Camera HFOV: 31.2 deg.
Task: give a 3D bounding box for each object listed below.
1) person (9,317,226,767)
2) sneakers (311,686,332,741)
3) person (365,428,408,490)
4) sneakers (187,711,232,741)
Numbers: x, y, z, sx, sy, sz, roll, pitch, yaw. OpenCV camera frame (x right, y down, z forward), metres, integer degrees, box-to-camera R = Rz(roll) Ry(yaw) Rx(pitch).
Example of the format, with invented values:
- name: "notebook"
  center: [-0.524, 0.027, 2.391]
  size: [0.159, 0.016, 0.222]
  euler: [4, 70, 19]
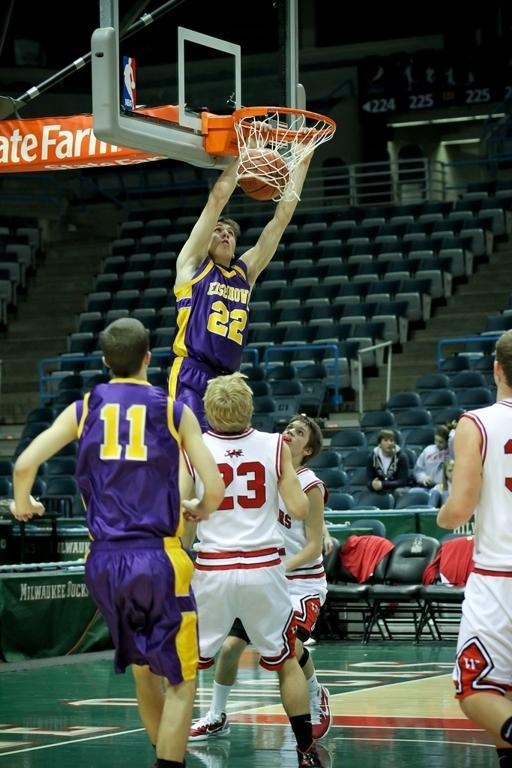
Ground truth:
- name: "person"
  center: [-0.372, 0.469, 2.561]
  size: [0.576, 1.306, 0.338]
  euler: [-4, 4, -4]
- name: "sneakers"
  center: [0.281, 1.390, 3.866]
  size: [0.089, 0.229, 0.103]
  euler: [-5, -33, 17]
- name: "person"
  center: [1.466, 0.851, 10.332]
  size: [0.458, 0.689, 0.396]
  euler: [-3, 4, 5]
- name: "sneakers"
  center: [-0.198, 1.487, 4.000]
  size: [0.214, 0.085, 0.070]
  euler: [2, -4, -40]
